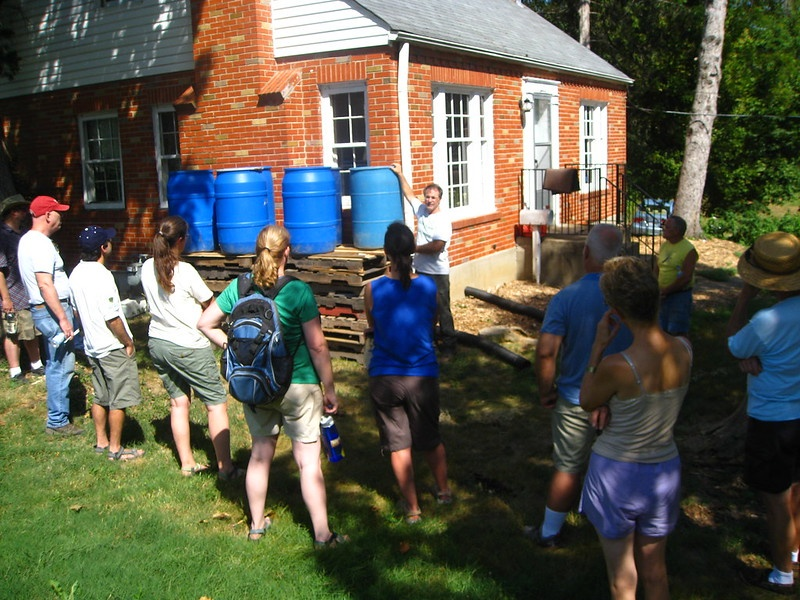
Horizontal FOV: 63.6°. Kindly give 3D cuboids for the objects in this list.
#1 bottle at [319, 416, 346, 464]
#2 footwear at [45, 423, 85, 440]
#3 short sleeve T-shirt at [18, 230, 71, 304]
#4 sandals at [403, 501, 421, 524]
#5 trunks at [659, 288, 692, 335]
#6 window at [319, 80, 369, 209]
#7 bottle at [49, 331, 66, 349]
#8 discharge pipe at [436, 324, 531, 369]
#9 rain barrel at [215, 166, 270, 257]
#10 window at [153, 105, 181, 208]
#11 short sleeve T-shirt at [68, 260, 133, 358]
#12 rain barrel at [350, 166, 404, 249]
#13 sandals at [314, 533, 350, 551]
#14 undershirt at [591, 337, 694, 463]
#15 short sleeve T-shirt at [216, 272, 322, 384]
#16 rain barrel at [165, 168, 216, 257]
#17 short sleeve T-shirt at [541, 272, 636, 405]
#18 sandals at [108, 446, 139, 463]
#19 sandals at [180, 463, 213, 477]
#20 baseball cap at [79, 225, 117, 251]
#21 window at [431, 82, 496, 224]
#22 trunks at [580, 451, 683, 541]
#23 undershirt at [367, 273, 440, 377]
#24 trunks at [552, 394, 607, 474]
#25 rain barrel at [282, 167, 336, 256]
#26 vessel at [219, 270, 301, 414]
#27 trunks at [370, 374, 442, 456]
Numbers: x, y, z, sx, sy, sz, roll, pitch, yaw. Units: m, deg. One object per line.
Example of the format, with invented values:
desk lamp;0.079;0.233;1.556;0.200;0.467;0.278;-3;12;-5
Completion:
bottle;-0.505;1.022;4.793;0.177;0.338;0.185;-11;15;3
footwear;-3.425;1.331;6.648;0.364;0.197;0.141;1;7;-10
short sleeve T-shirt;-3.612;-0.317;6.597;0.413;0.807;0.644;-10;16;-37
sandals;0.092;1.685;5.127;0.070;0.094;0.210;0;11;-3
trunks;2.973;0.108;7.029;0.323;0.630;0.473;1;3;5
window;-0.774;-2.462;9.976;0.705;1.666;0.159;-7;34;-10
bottle;-3.439;0.409;6.514;0.103;0.142;0.330;-12;18;-41
discharge pipe;1.114;0.642;8.450;0.475;0.283;1.252;-2;15;-32
rain barrel;-2.032;-1.174;8.965;1.068;1.181;0.785;3;1;15
window;-4.067;-2.563;11.483;0.444;1.940;0.120;-12;50;-27
short sleeve T-shirt;-2.746;0.079;5.888;0.557;0.859;0.275;5;13;21
rain barrel;-0.413;-1.277;8.976;0.807;1.038;0.842;-4;8;1
sandals;-0.490;1.768;4.728;0.104;0.053;0.186;1;0;39
undershirt;1.382;0.617;3.738;0.495;0.649;0.190;3;13;15
short sleeve T-shirt;-0.929;0.218;4.566;0.712;0.765;0.411;6;22;26
rain barrel;-3.013;-1.284;9.317;0.654;1.123;0.706;-1;9;0
short sleeve T-shirt;1.212;0.270;4.165;0.720;0.918;0.405;3;16;14
sandals;-2.610;1.473;6.155;0.222;0.075;0.131;-2;12;-15
sandals;-1.880;1.546;5.877;0.098;0.063;0.217;16;22;42
baseball cap;-2.752;-0.571;5.912;0.198;0.173;0.317;26;47;32
window;1.022;-2.559;10.962;0.245;3.071;2.472;2;7;30
trunks;1.387;1.108;3.889;0.591;0.537;0.387;-1;19;7
undershirt;0.028;0.160;5.151;0.573;0.860;0.456;-2;15;-2
trunks;1.258;1.030;4.662;0.281;0.339;0.553;-23;32;48
rain barrel;-1.218;-1.217;8.751;0.751;1.137;0.750;-2;11;0
vessel;-1.012;0.300;4.629;0.513;0.942;0.499;3;7;15
trunks;0.072;0.823;5.089;0.559;0.729;0.381;-7;14;3
